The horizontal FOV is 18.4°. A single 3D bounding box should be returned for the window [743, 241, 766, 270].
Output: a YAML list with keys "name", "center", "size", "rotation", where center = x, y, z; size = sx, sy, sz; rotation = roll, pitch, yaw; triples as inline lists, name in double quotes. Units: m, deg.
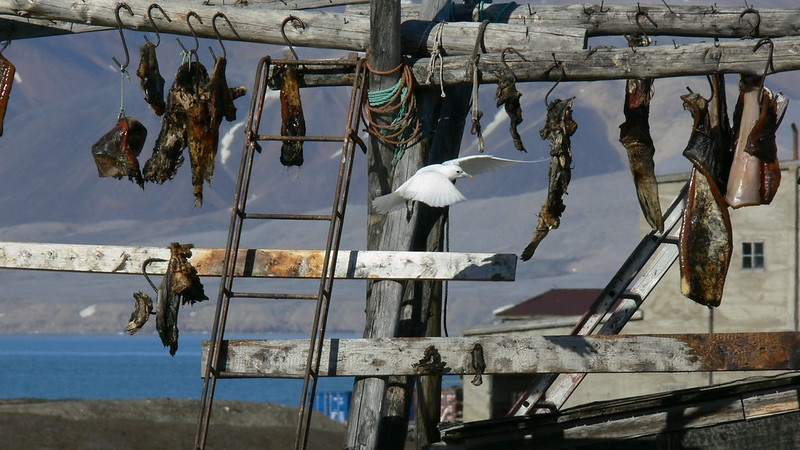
- name: "window"
  center: [20.925, 1.828, 145.897]
  size: [1.925, 1.959, 0.139]
  rotation: [-1, 1, 10]
